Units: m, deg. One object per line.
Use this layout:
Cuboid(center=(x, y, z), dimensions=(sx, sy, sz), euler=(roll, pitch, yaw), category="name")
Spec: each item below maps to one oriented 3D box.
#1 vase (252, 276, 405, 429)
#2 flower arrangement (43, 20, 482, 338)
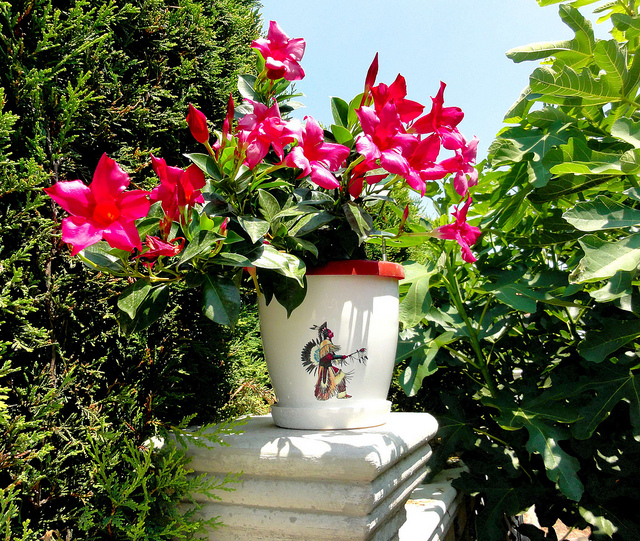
Cuboid(center=(0.036, 0.244, 1.696), dimensions=(0.490, 0.386, 0.439), euler=(0, -11, -1), category="vase")
Cuboid(center=(-0.100, -0.225, 1.542), dimensions=(1.148, 0.559, 0.507), euler=(5, -3, -23), category="flower arrangement")
